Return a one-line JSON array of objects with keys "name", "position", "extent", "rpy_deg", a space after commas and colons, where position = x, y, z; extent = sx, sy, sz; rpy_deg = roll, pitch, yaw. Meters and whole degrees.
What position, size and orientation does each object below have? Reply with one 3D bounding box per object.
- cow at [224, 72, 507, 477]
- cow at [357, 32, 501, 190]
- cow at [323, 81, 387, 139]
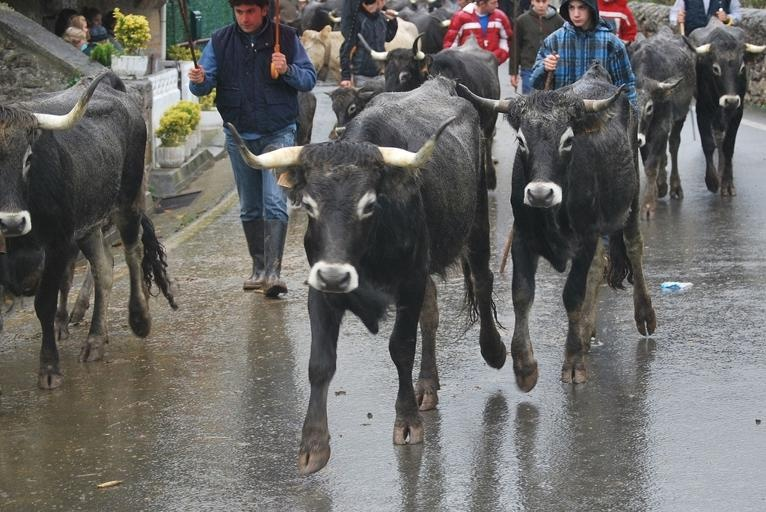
[{"name": "cow", "position": [0.075, 0.143, 9.756], "extent": [1.150, 2.742, 2.488], "rpy_deg": [2, 12, 25]}, {"name": "cow", "position": [0.683, -2.064, 16.833], "extent": [0.773, 1.239, 2.155], "rpy_deg": [5, -19, 34]}, {"name": "cow", "position": [-0.459, -1.993, 17.385], "extent": [0.650, 1.021, 2.086], "rpy_deg": [2, 4, 11]}]
